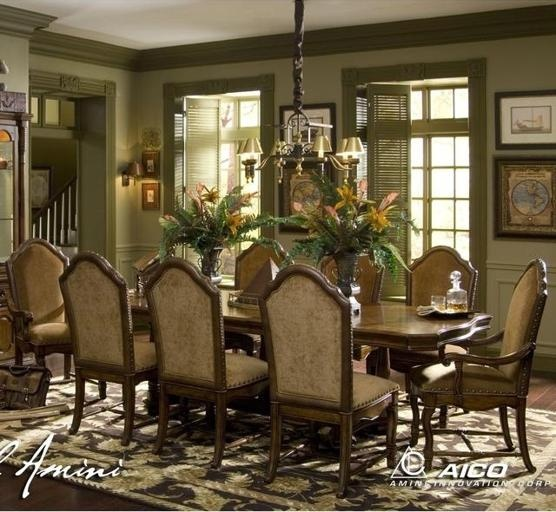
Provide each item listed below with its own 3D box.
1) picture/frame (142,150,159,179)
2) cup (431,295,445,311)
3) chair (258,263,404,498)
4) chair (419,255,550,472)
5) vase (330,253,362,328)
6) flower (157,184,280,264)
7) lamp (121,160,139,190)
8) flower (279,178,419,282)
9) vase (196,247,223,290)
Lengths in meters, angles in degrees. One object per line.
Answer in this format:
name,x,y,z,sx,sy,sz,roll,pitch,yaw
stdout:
picture/frame,-1.665,-1.205,6.681,0.278,0.368,0.048,-1,-2,25
cup,0.936,0.286,3.056,0.092,0.089,0.089,0,-3,0
chair,0.214,0.567,2.476,0.503,1.044,0.612,-1,-2,30
chair,1.062,0.566,2.710,0.699,1.087,0.690,0,-2,16
vase,0.371,0.189,2.845,0.198,0.383,0.184,3,-3,5
flower,-0.429,-0.190,3.601,0.677,0.356,0.622,0,5,-4
lamp,-1.891,-1.078,6.675,0.226,0.361,0.239,-1,-2,32
flower,0.601,-0.206,3.746,1.210,0.656,1.152,0,5,-37
vase,-0.455,0.095,3.456,0.184,0.280,0.182,-2,2,-37
